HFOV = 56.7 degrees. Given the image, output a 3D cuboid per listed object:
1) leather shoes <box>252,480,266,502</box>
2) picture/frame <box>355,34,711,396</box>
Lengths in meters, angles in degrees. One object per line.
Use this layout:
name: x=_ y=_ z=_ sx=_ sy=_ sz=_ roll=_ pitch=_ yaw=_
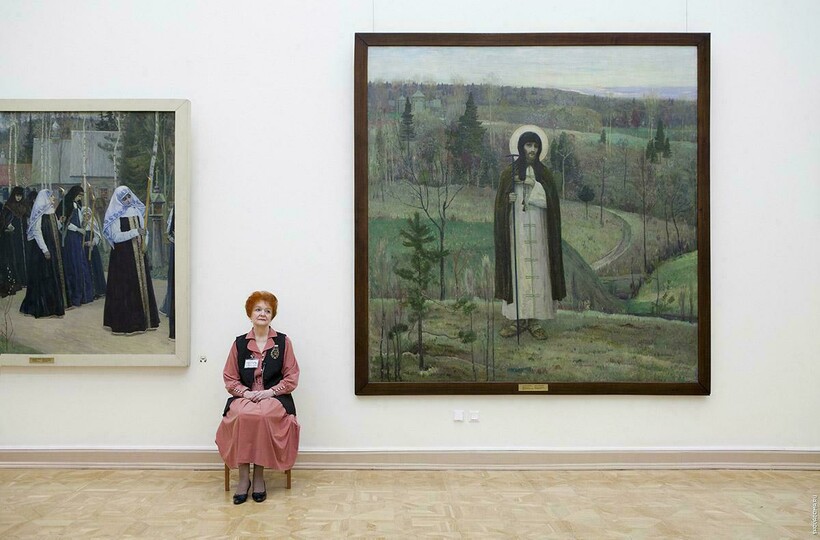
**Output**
leather shoes: x=-1.704 y=2.505 z=8.602 sx=0.152 sy=0.218 sz=0.133 roll=-1 pitch=7 yaw=-12
picture/frame: x=1.393 y=-0.577 z=9.251 sx=4.164 sy=4.204 sz=0.197 roll=0 pitch=0 yaw=2
